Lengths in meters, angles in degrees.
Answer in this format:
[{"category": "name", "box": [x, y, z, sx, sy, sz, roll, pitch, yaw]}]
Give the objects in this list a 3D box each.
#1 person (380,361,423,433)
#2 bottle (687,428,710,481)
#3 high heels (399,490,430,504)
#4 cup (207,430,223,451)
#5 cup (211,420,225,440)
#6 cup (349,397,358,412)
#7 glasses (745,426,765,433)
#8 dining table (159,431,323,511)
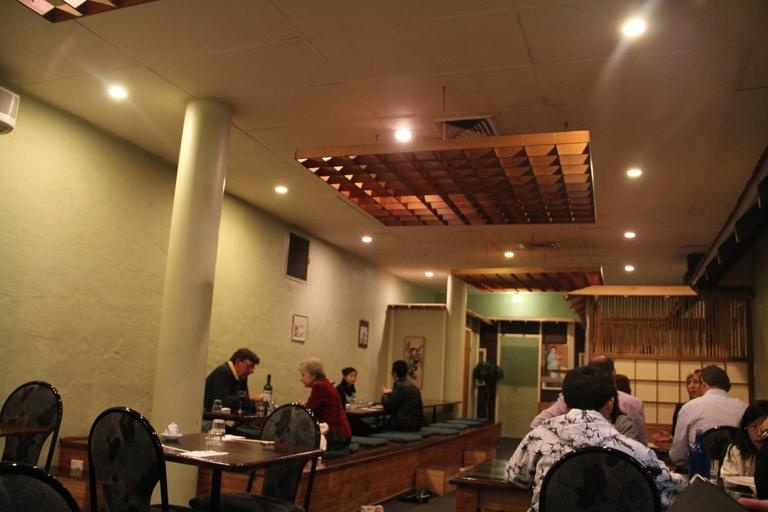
[{"category": "person", "box": [0.319, 2.495, 9.846, 0.816, 1.210, 0.738, 0, -8, 6]}, {"category": "bottle", "box": [2.325, 1.477, 4.059, 0.140, 0.339, 0.302, -2, -11, 29]}, {"category": "high heels", "box": [0.413, 3.375, 7.701, 0.477, 0.112, 0.158, -5, -7, 40]}, {"category": "cup", "box": [-1.360, 1.495, 4.437, 0.130, 0.131, 0.126, 4, -3, 0]}, {"category": "cup", "box": [-1.349, 1.460, 4.584, 0.144, 0.153, 0.146, 3, -17, 1]}, {"category": "cup", "box": [-0.555, 2.674, 9.867, 0.221, 0.232, 0.240, -1, -8, 0]}, {"category": "glasses", "box": [3.004, 1.404, 4.448, 0.108, 0.033, 0.146, -1, -13, 19]}, {"category": "dining table", "box": [-1.243, 1.521, 4.229, 0.888, 0.533, 0.893, -1, -10, 22]}]
